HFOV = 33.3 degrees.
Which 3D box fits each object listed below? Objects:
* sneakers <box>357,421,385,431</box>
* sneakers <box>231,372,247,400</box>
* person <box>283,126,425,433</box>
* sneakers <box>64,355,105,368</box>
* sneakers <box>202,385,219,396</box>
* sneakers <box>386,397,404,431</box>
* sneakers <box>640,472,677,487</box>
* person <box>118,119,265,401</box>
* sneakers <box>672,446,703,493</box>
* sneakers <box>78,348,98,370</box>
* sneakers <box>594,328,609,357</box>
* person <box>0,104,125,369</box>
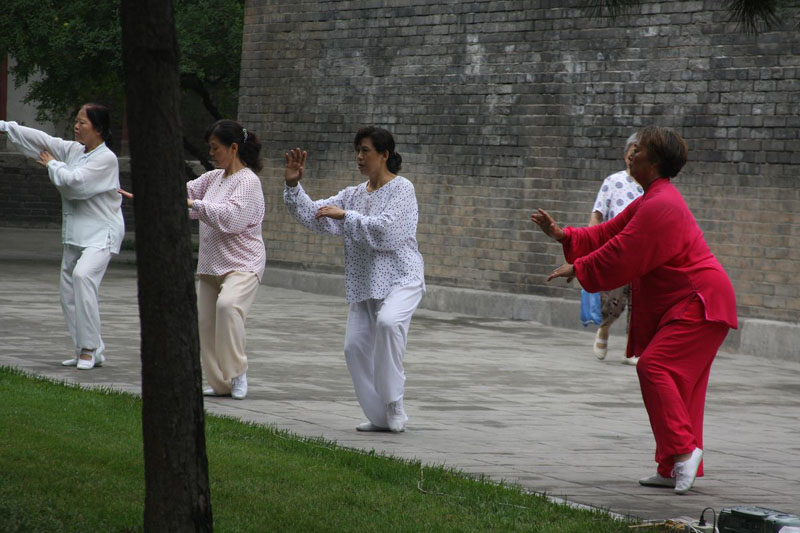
[{"bbox_3d":[-0.269,1.414,11.878,0.290,0.099,0.087,-2,-1,2],"label":"sneakers"},{"bbox_3d":[-1.530,1.139,12.770,0.141,0.220,0.159,2,8,-13],"label":"sneakers"},{"bbox_3d":[-0.300,0.084,11.999,1.135,2.664,0.713,8,9,25],"label":"person"},{"bbox_3d":[-3.243,0.985,13.757,0.177,0.087,0.279,-3,-9,23],"label":"sneakers"},{"bbox_3d":[-1.855,1.216,13.056,0.205,0.068,0.243,1,2,3],"label":"sneakers"},{"bbox_3d":[0.002,1.308,11.820,0.208,0.289,0.130,-1,10,-31],"label":"sneakers"},{"bbox_3d":[2.054,1.694,10.646,0.289,0.090,0.094,3,1,12],"label":"sneakers"},{"bbox_3d":[-1.702,-0.089,12.932,0.770,2.646,0.900,3,8,-8],"label":"person"},{"bbox_3d":[2.268,1.598,10.525,0.239,0.339,0.172,3,8,-9],"label":"sneakers"},{"bbox_3d":[-3.200,0.940,13.662,0.228,0.217,0.587,-1,-5,-3],"label":"sneakers"},{"bbox_3d":[2.341,0.894,15.581,0.163,0.361,0.170,1,12,7],"label":"sneakers"},{"bbox_3d":[-3.431,-0.350,13.926,1.077,2.688,1.060,2,9,-13],"label":"person"}]
